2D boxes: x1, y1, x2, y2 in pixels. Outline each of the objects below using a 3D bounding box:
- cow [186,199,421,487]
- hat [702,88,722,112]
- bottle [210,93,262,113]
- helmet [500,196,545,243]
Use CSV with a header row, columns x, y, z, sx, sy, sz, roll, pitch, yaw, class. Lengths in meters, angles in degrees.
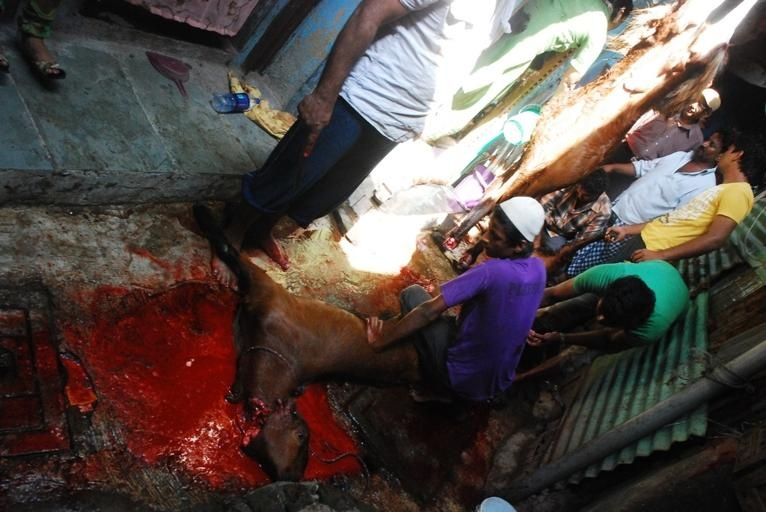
x,y,z,sx,sy,sz,roll,pitch,yaw,class
-0.834,0.743,4.579,1.792,0.899,1.411,42,25,14,cow
3.259,-1.561,5.443,0.173,0.156,0.209,43,18,-10,hat
-1.467,-1.516,5.353,0.254,0.186,0.536,40,24,8,bottle
1.108,-0.299,4.464,0.405,0.254,0.292,25,50,-31,helmet
